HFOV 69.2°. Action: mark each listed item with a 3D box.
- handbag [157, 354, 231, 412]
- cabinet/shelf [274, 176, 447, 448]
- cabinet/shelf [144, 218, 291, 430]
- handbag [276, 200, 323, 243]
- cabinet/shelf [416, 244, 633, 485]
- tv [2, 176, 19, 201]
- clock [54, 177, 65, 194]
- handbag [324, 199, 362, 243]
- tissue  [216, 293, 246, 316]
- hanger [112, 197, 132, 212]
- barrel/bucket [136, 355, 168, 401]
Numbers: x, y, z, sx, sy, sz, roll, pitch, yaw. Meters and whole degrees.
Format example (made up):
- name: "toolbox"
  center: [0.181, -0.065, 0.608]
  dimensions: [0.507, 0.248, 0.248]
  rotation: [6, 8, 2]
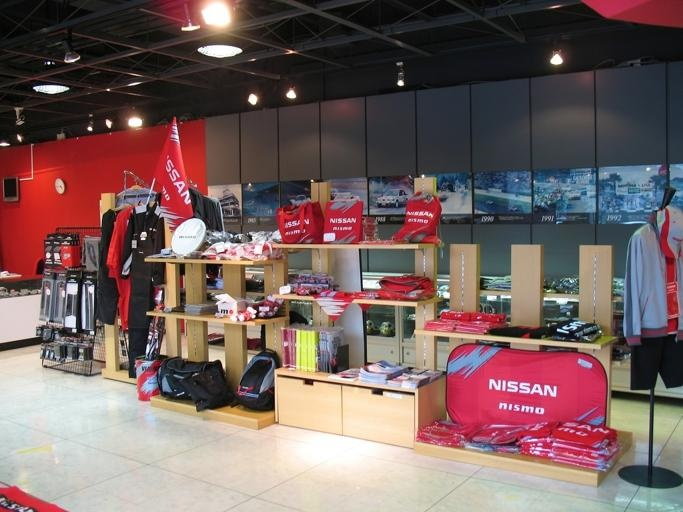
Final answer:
- name: "handbag"
  center: [-1.577, 1.348, 5.383]
  dimensions: [0.777, 0.305, 0.510]
  rotation: [10, 8, 33]
- name: "cabinet/shelf"
  center: [0.155, 0.457, 4.704]
  dimensions: [1.557, 2.353, 0.732]
  rotation: [0, 7, 30]
- name: "cabinet/shelf"
  center: [-1.385, 0.759, 5.386]
  dimensions: [2.181, 2.480, 0.820]
  rotation: [1, 1, 34]
- name: "handbag"
  center: [-0.425, -0.325, 5.033]
  dimensions: [0.521, 0.410, 0.244]
  rotation: [-4, -1, 38]
- name: "cabinet/shelf"
  center: [1.555, 0.979, 4.200]
  dimensions: [1.851, 2.117, 1.105]
  rotation: [0, 0, 36]
- name: "tv"
  center: [-8.527, -1.742, 12.797]
  dimensions: [0.690, 0.770, 0.079]
  rotation: [-1, -1, 27]
- name: "clock"
  center: [-6.659, -1.669, 11.727]
  dimensions: [0.403, 0.388, 0.056]
  rotation: [5, 6, 37]
- name: "handbag"
  center: [0.029, -0.321, 4.747]
  dimensions: [0.407, 0.448, 0.153]
  rotation: [4, 5, 31]
- name: "tissue "
  center: [-1.145, 0.516, 5.171]
  dimensions: [0.253, 0.180, 0.252]
  rotation: [2, 2, 30]
- name: "hanger"
  center: [-2.881, -0.643, 6.539]
  dimensions: [0.274, 0.176, 0.420]
  rotation: [2, -1, -13]
- name: "barrel/bucket"
  center: [-2.194, 1.441, 5.831]
  dimensions: [0.377, 0.414, 0.372]
  rotation: [-5, -8, -1]
